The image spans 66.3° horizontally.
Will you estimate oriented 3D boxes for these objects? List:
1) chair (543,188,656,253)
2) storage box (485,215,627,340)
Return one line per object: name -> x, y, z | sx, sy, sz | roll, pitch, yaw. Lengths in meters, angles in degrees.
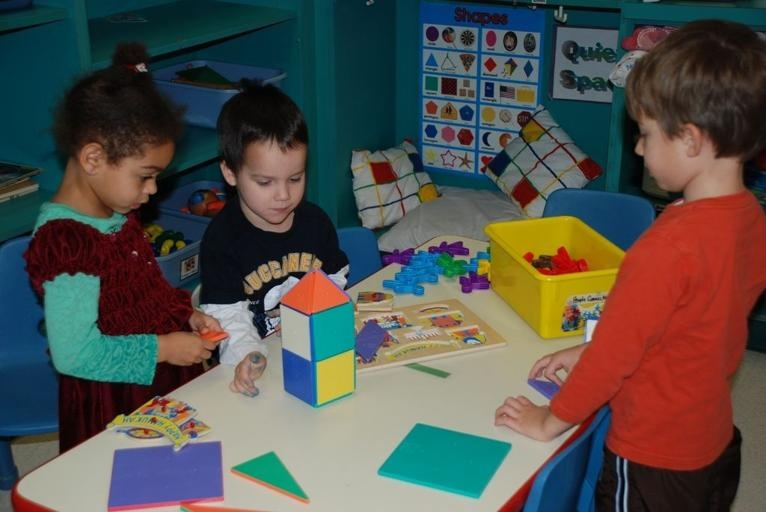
chair -> 0.844, -0.075, 2.302 | 0.331, 0.379, 0.283 | 3, -6, 21
storage box -> 0.484, 0.026, 1.766 | 0.313, 0.197, 0.440 | -7, 26, -13
